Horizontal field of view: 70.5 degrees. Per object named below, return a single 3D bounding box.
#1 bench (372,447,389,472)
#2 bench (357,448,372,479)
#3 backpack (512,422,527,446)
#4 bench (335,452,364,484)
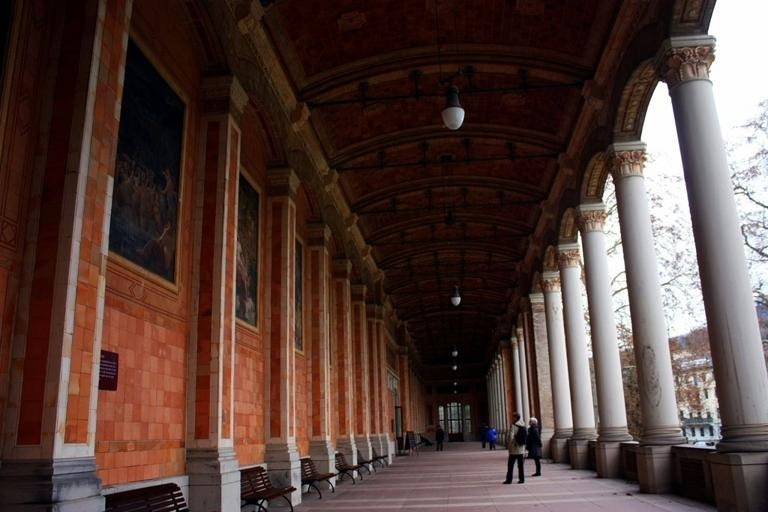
[{"bbox_3d":[-0.218,9.225,24.579,0.553,0.969,1.472,-3,-15,12],"label":"bench"},{"bbox_3d":[-0.803,8.052,20.978,0.595,1.045,1.590,-5,-16,13],"label":"bench"},{"bbox_3d":[3.813,5.062,15.468,0.380,0.700,0.359,-14,-20,30],"label":"backpack"},{"bbox_3d":[-1.240,7.166,18.481,0.854,0.961,2.441,-2,-19,-6],"label":"bench"}]
